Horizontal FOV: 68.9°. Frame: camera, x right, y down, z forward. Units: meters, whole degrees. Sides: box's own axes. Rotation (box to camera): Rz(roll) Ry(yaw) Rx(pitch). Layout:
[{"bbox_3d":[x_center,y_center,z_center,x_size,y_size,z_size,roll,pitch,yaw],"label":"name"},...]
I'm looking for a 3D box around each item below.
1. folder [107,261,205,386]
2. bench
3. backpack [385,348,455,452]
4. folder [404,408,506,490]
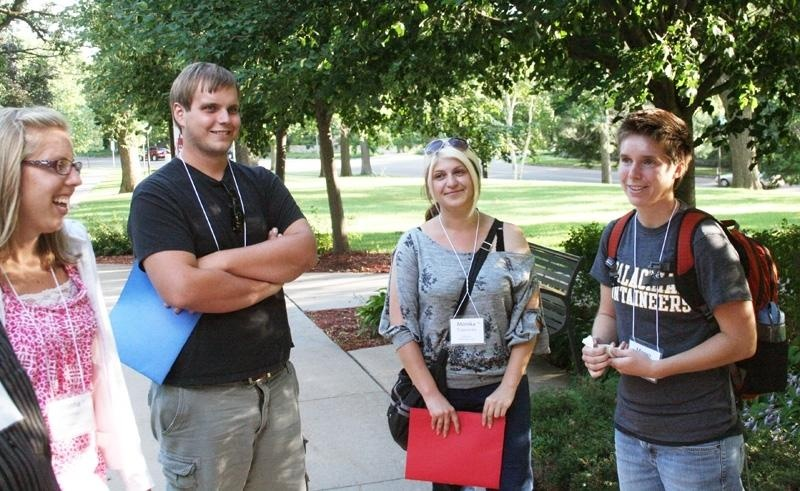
[{"bbox_3d":[-1.438,0.454,3.360,0.667,0.667,0.186,28,-2,14],"label":"folder"},{"bbox_3d":[1.654,0.709,6.092,0.517,0.756,1.521,-3,4,-8],"label":"bench"},{"bbox_3d":[0.064,0.967,3.722,0.407,0.625,0.474,2,0,-10],"label":"backpack"},{"bbox_3d":[0.343,1.198,3.461,0.550,0.392,0.063,4,-9,5],"label":"folder"}]
